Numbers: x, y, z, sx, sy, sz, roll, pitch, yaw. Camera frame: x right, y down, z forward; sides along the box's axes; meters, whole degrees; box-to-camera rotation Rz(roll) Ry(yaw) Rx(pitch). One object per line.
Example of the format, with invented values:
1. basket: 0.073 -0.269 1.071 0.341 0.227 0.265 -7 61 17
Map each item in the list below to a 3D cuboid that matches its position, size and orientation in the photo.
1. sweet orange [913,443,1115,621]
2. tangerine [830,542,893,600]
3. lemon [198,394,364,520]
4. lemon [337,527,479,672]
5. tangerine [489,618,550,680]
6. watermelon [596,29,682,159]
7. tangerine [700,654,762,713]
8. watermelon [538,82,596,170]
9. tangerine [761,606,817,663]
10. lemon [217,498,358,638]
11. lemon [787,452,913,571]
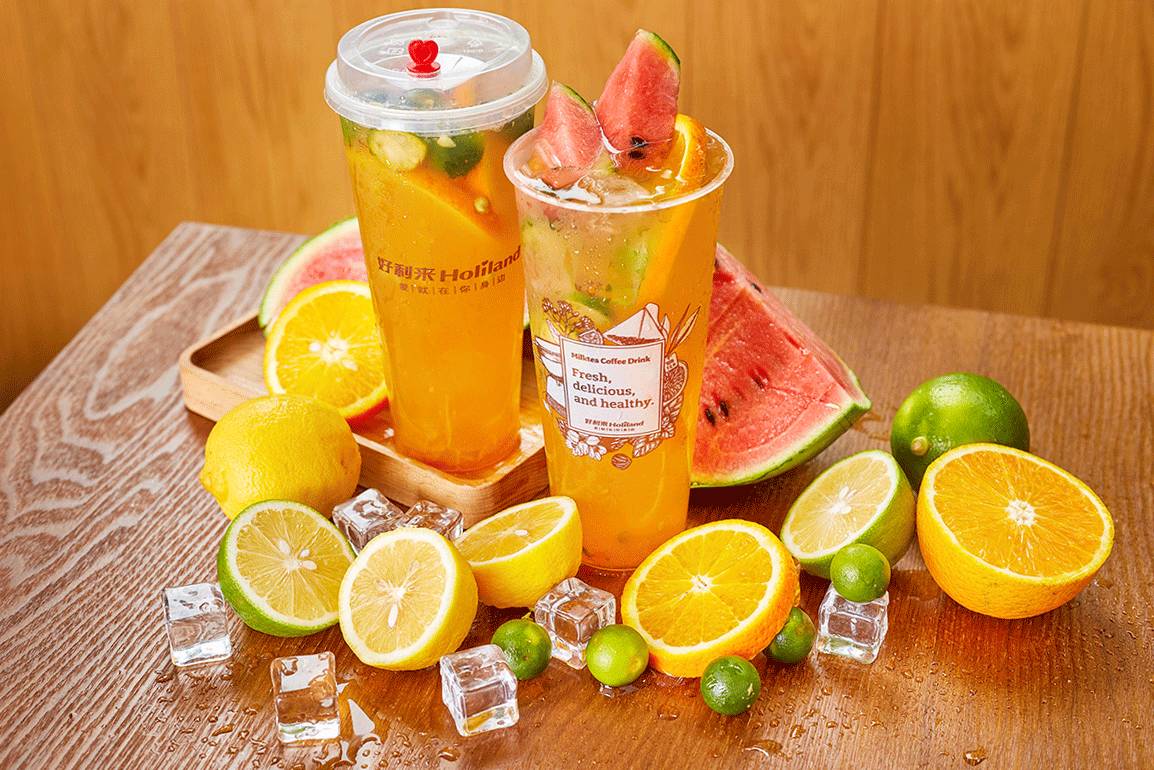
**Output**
1. sweet orange: 0.551 0.193 1.356 0.230 0.119 0.199 19 47 19
2. tangerine: 0.348 0.236 1.313 0.066 0.069 0.085 -1 0 -6
3. lemon: -0.404 0.085 1.468 0.182 0.147 0.146 -18 3 -16
4. lemon: -0.200 0.251 1.333 0.158 0.103 0.168 -25 61 9
5. tangerine: -0.067 0.325 1.298 0.073 0.068 0.086 -2 57 8
6. watermelon: 0.078 -0.351 1.303 0.099 0.151 0.063 14 24 13
7. tangerine: 0.180 0.349 1.236 0.063 0.044 0.046 1 44 2
8. watermelon: -0.011 -0.312 1.293 0.073 0.110 0.045 -10 0 5
9. tangerine: 0.266 0.310 1.329 0.059 0.066 0.065 4 17 23
10. lemon: -0.379 0.226 1.349 0.166 0.104 0.169 -1 58 -40
11. lemon: 0.385 0.184 1.438 0.158 0.099 0.159 -40 22 16
